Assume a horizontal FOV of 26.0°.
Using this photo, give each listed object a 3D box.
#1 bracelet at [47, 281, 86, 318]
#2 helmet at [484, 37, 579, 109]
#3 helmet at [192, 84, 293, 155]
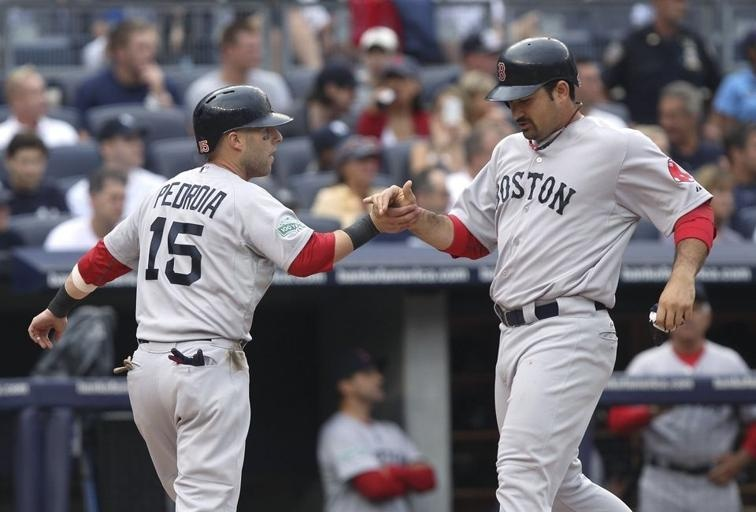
[{"bbox_3d":[-2.152,0.293,11.230,0.167,0.243,0.179,1,49,-38],"label":"bracelet"},{"bbox_3d":[0.970,-1.196,10.538,0.565,0.270,0.380,-7,5,-32],"label":"helmet"},{"bbox_3d":[-0.879,-0.876,10.503,0.599,0.301,0.383,-9,7,1],"label":"helmet"}]
